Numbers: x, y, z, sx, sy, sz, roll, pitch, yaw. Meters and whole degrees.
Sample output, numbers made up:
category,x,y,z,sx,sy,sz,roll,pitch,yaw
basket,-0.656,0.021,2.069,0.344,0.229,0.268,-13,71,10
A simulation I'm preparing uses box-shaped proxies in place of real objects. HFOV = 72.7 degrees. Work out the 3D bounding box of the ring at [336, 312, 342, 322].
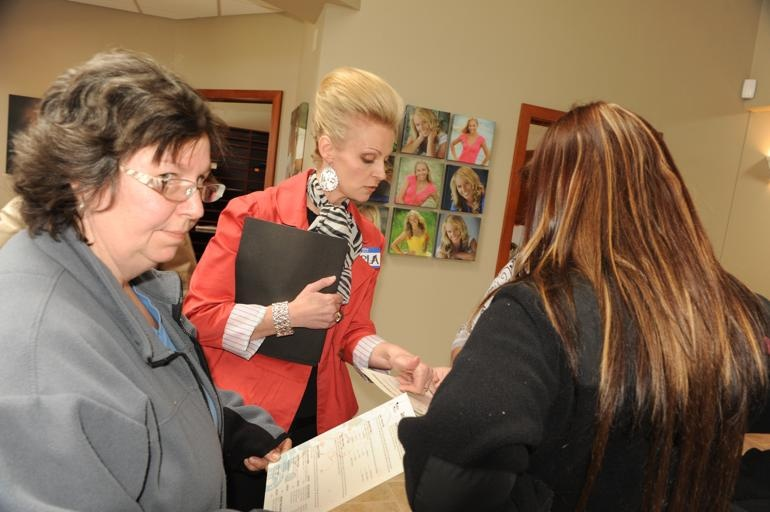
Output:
category,x,y,z,sx,sy,sz,roll,pitch,yaw
ring,-0.169,0.221,1.895,0.009,0.029,0.030,15,-21,-12

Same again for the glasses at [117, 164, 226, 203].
category,x,y,z,sx,sy,sz,roll,pitch,yaw
glasses,-0.470,-0.179,1.191,0.209,0.051,0.200,8,-14,-6
